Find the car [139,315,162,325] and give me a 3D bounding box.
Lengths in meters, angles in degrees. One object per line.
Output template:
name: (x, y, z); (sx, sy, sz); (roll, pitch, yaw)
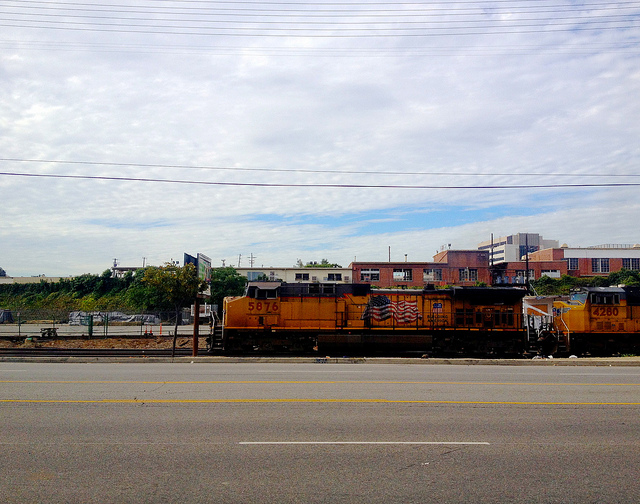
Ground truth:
car: (-12.795, 5.097, 67.624); (1.276, 0.609, 4.214); (0, -4, -14)
